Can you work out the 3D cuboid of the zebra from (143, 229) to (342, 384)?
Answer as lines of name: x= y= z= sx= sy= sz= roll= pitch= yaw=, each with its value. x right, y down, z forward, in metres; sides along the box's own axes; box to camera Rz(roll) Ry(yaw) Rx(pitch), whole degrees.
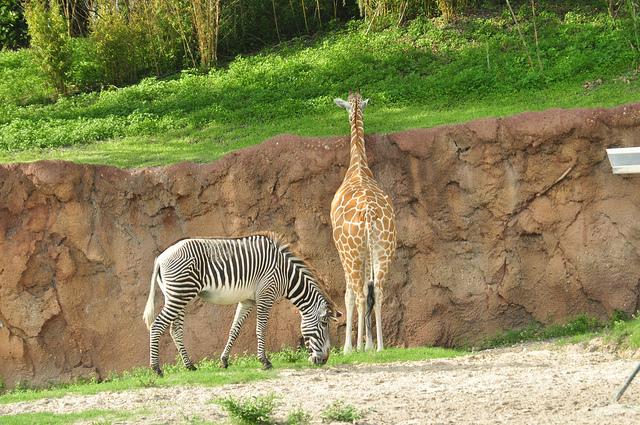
zebra: x=-1.919 y=2.429 z=34.429 sx=4.996 sy=3.981 sz=1.451 roll=1 pitch=-3 yaw=-16
